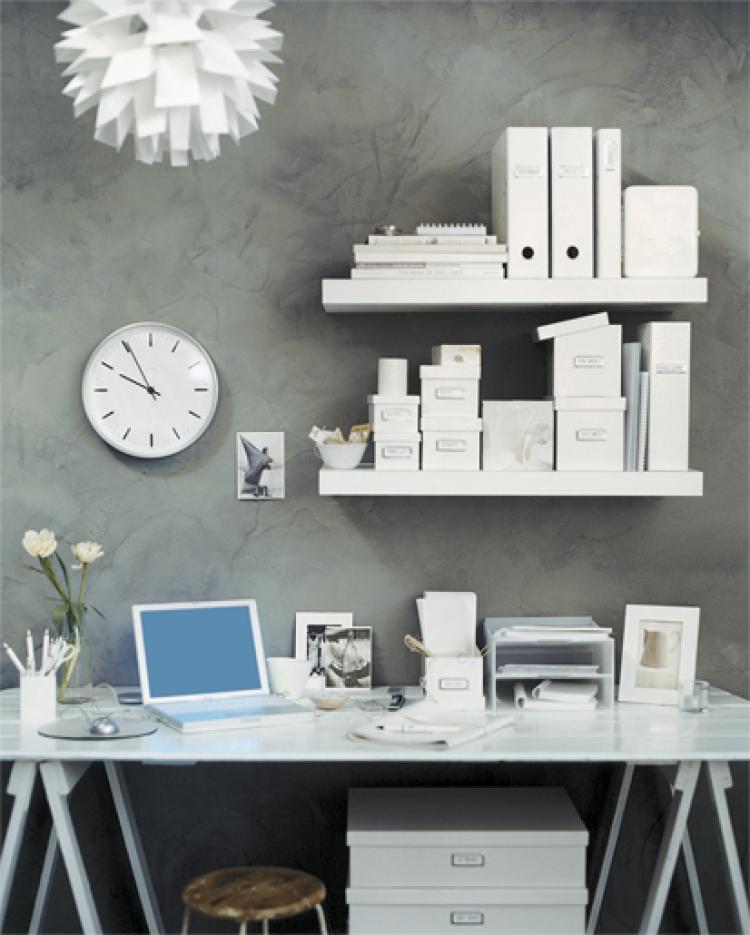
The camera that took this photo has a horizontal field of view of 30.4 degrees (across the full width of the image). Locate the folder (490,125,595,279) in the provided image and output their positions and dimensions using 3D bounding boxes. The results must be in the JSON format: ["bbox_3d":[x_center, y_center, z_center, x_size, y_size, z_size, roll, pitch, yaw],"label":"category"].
[{"bbox_3d":[0.413,-0.625,3.456,0.263,0.411,0.393,-1,1,-1],"label":"folder"}]

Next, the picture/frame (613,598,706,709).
[{"bbox_3d":[0.682,0.450,3.327,0.171,0.272,0.012,2,21,5],"label":"picture/frame"}]

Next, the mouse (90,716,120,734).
[{"bbox_3d":[-0.581,0.551,2.980,0.036,0.025,0.036,-3,-6,43],"label":"mouse"}]

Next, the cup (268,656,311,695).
[{"bbox_3d":[-0.208,0.503,3.343,0.079,0.074,0.091,1,-8,-11],"label":"cup"}]

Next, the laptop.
[{"bbox_3d":[-0.369,0.453,3.262,0.274,0.243,0.314,0,-4,-31],"label":"laptop"}]

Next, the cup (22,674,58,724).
[{"bbox_3d":[-0.759,0.524,3.123,0.086,0.140,0.091,0,1,0],"label":"cup"}]

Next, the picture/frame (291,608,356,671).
[{"bbox_3d":[-0.126,0.436,3.479,0.132,0.174,0.017,0,-17,0],"label":"picture/frame"}]

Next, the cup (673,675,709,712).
[{"bbox_3d":[0.742,0.534,3.214,0.054,0.059,0.066,0,-9,4],"label":"cup"}]

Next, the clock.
[{"bbox_3d":[-0.557,-0.206,3.491,0.311,0.364,0.035,0,-3,-4],"label":"clock"}]
